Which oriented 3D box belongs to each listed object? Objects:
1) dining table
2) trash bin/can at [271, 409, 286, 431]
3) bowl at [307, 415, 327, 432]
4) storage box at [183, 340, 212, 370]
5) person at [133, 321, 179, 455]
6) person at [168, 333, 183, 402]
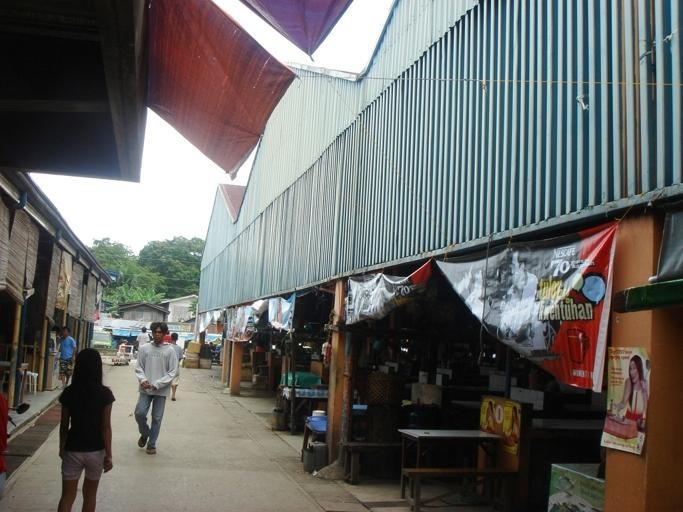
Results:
[{"bbox_3d":[1.656,3.206,8.334,1.445,1.133,2.526,1,-14,9],"label":"dining table"},{"bbox_3d":[-1.532,4.142,13.754,0.330,0.429,0.388,0,-6,4],"label":"trash bin/can"},{"bbox_3d":[-0.442,3.196,10.413,0.375,0.273,0.507,4,-14,-3],"label":"bowl"},{"bbox_3d":[-9.043,6.320,35.059,1.174,1.779,2.066,-1,-14,17],"label":"storage box"},{"bbox_3d":[-3.238,2.318,9.638,0.713,2.229,1.244,7,-13,-20],"label":"person"},{"bbox_3d":[-4.283,2.803,14.010,0.388,1.547,0.459,-4,-6,29],"label":"person"}]
